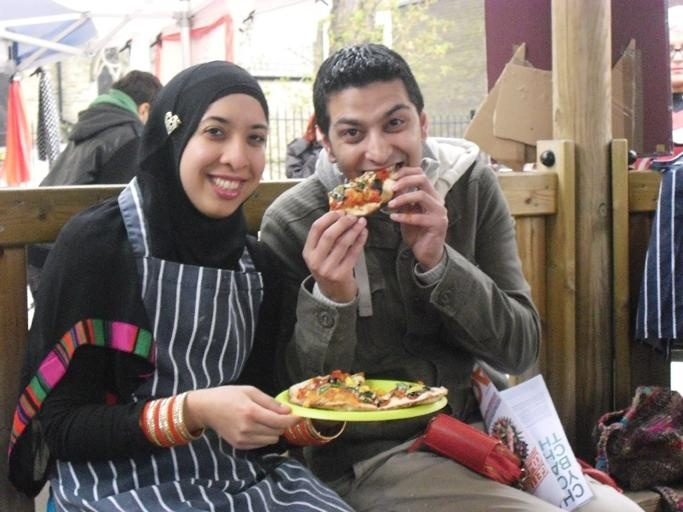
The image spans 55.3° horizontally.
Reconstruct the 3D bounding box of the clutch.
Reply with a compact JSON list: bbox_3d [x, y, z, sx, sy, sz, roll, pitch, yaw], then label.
[{"bbox_3d":[0.589,0.880,3.116,0.331,0.107,0.361,23,8,15],"label":"clutch"}]

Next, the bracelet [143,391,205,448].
[{"bbox_3d":[-0.700,0.669,2.733,0.188,0.193,0.237,-7,0,0],"label":"bracelet"}]

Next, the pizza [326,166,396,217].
[{"bbox_3d":[0.100,-0.309,3.142,0.260,0.076,0.254,-32,22,-12],"label":"pizza"}]
